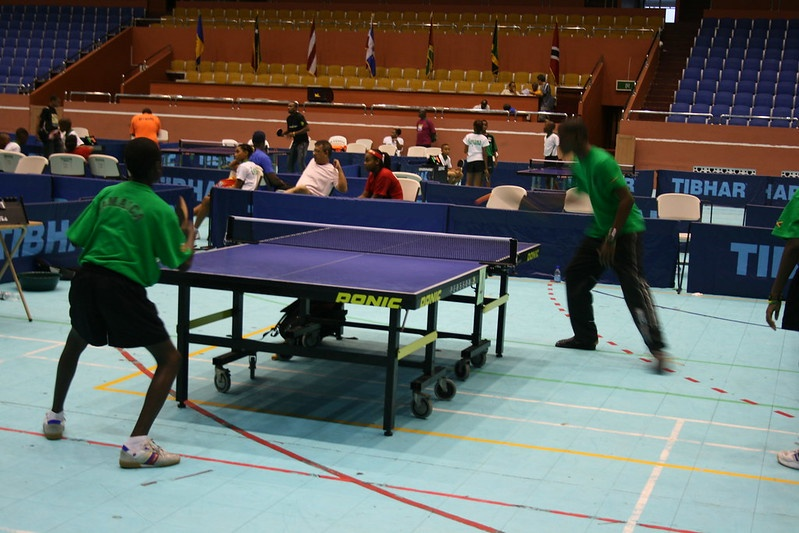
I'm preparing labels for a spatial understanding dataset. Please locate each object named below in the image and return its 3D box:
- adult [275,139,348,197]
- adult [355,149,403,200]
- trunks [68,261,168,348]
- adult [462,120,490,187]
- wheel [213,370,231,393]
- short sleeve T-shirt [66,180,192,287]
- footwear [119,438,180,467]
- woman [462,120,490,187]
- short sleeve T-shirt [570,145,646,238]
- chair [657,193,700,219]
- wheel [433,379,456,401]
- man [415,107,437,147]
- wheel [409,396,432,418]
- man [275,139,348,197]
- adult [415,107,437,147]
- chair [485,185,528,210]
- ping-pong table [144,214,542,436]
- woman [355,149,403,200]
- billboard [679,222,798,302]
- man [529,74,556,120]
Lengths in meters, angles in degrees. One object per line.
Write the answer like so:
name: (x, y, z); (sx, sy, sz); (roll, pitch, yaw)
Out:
adult: (-1.242, -1.557, 10.104); (0.773, 0.888, 1.227); (5, 13, 11)
adult: (-0.270, -1.371, 9.416); (0.619, 0.704, 0.842); (-2, 14, -17)
trunks: (-1.836, 0.262, 4.153); (0.650, 0.513, 0.342); (4, 19, -2)
adult: (1.845, -2.740, 15.421); (0.546, 1.543, 1.107); (4, 14, 6)
wheel: (-1.462, 0.965, 5.351); (0.187, 0.204, 0.080); (9, 10, 31)
short sleeve T-shirt: (-1.721, -0.210, 4.169); (0.907, 0.629, 0.514); (13, 10, 14)
footwear: (-1.524, 1.208, 4.126); (0.460, 0.204, 0.155); (1, 2, -15)
woman: (1.844, -2.739, 15.419); (0.545, 1.543, 1.102); (3, 14, 5)
short sleeve T-shirt: (1.767, -0.663, 5.820); (0.347, 0.850, 0.540); (0, 14, -7)
chair: (4.400, -0.946, 10.158); (0.641, 0.346, 0.601); (2, 4, 16)
wheel: (0.388, 1.022, 5.398); (0.180, 0.206, 0.150); (3, 14, 3)
man: (0.777, -4.065, 18.723); (0.546, 1.044, 1.217); (2, 13, 1)
wheel: (0.171, 1.108, 5.022); (0.185, 0.178, 0.107); (-8, -6, 18)
man: (-1.241, -1.558, 10.109); (0.773, 0.888, 1.239); (5, 13, 11)
adult: (0.778, -4.074, 18.767); (0.546, 1.044, 1.306); (2, 13, 1)
chair: (1.756, -1.131, 10.364); (0.643, 0.331, 0.390); (1, 13, -5)
ping-pong table: (-0.327, 0.289, 5.924); (2.551, 1.447, 2.940); (7, 14, 21)
woman: (-0.273, -1.371, 9.415); (0.624, 0.704, 0.835); (-2, 14, -17)
billboard: (4.732, -0.076, 8.808); (1.641, 1.029, 0.031); (5, -19, -9)
man: (4.526, -5.367, 20.483); (0.800, 1.487, 0.635); (-11, 24, -31)
